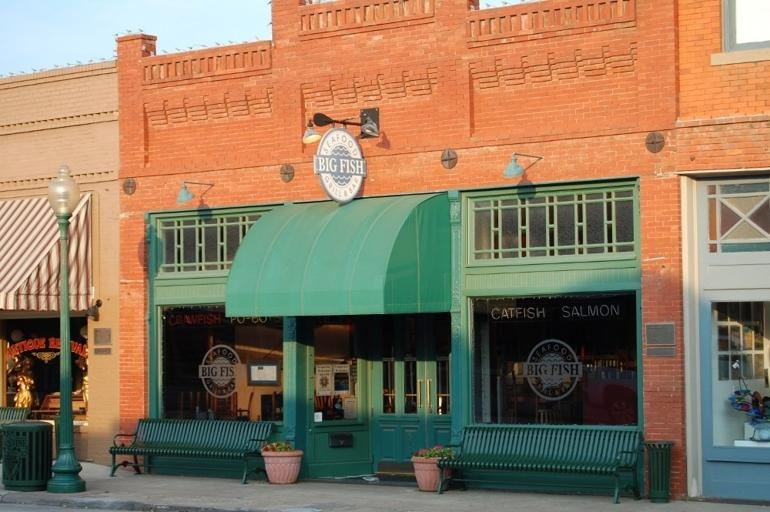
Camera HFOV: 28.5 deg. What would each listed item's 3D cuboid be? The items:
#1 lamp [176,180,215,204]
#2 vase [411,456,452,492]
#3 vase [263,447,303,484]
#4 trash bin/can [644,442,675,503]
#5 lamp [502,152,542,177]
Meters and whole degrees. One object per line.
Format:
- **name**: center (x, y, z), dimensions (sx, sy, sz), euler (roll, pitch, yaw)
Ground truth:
- **lamp**: center (-4.125, -1.436, 32.481), dimensions (0.716, 0.576, 0.695), euler (-5, -11, 15)
- **vase**: center (0.927, 4.278, 30.046), dimensions (0.729, 0.499, 0.696), euler (2, -12, -3)
- **vase**: center (-2.143, 4.255, 31.092), dimensions (0.747, 0.492, 0.720), euler (4, -8, -22)
- **trash bin/can**: center (5.284, 4.047, 28.884), dimensions (0.515, 1.130, 0.274), euler (-4, -11, 9)
- **lamp**: center (2.680, -1.846, 30.222), dimensions (0.885, 0.420, 0.409), euler (-2, 2, -12)
